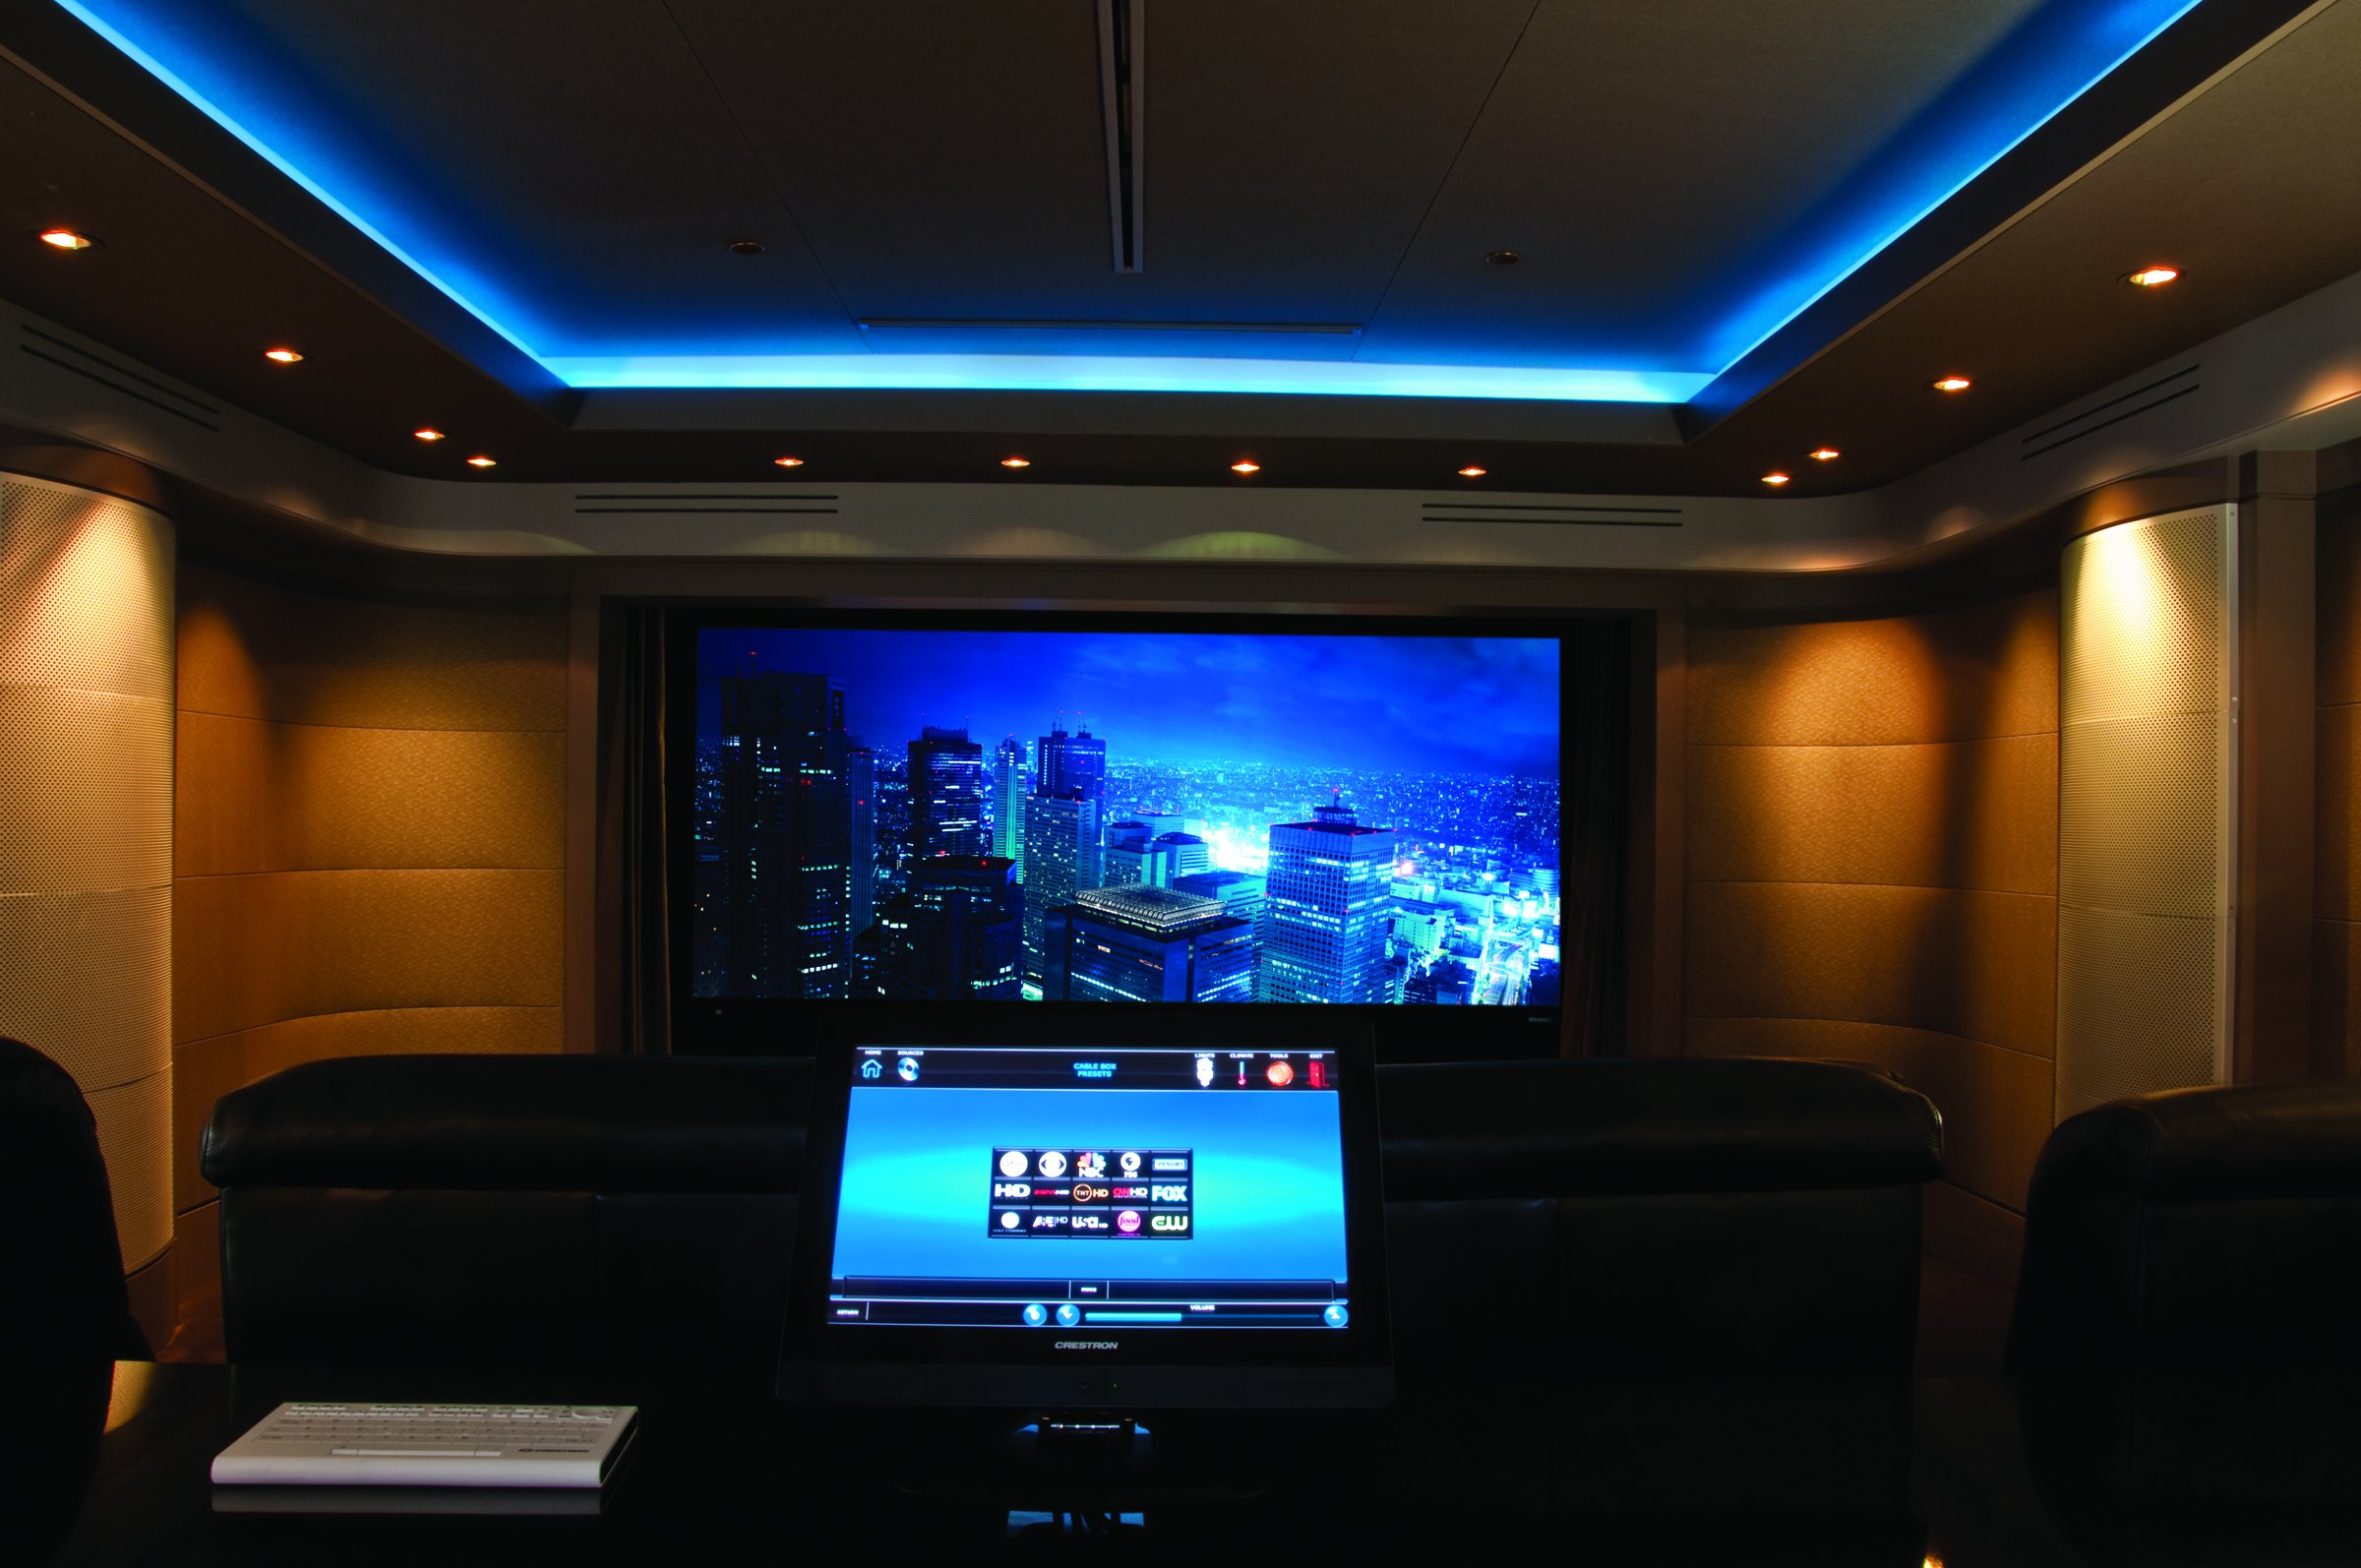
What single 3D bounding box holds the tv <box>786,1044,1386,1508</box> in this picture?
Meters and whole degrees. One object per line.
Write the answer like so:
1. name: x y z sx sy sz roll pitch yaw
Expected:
1. tv: -0.161 0.672 2.660 0.919 0.643 0.492 6 7 -11
